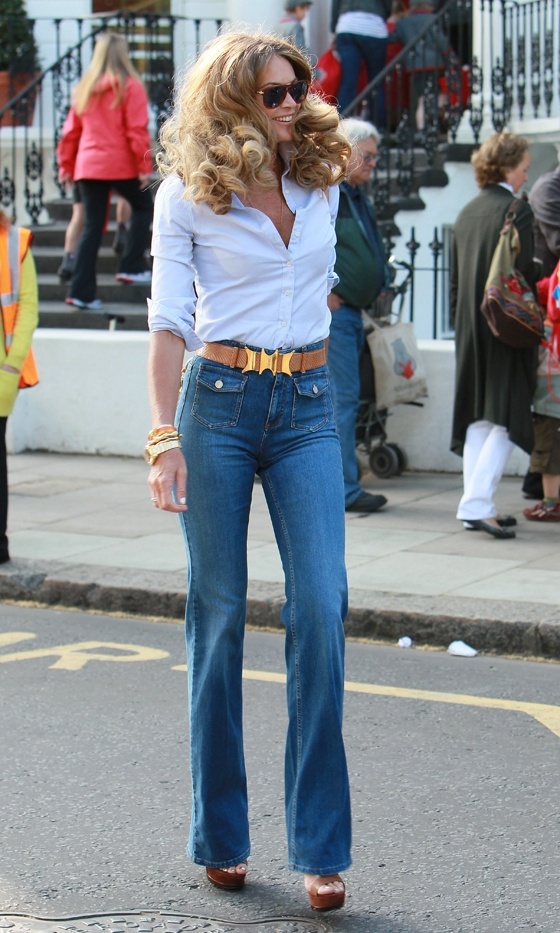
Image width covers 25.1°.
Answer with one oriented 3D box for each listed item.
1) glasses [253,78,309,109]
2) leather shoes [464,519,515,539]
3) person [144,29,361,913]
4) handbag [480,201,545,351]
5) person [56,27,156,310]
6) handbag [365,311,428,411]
[{"bbox_3d":[0.012,-0.755,2.535,0.042,0.067,0.120,4,6,37],"label":"glasses"},{"bbox_3d":[1.074,0.304,6.467,0.252,0.097,0.297,1,5,7],"label":"leather shoes"},{"bbox_3d":[-0.058,0.007,2.617,0.408,1.819,0.311,0,5,2],"label":"person"},{"bbox_3d":[1.131,-0.953,6.102,0.320,0.714,0.216,-1,5,-12],"label":"handbag"},{"bbox_3d":[-1.385,-2.411,10.143,0.735,2.248,0.985,-1,5,-9],"label":"person"},{"bbox_3d":[0.681,-0.631,7.472,0.369,0.553,0.192,1,5,4],"label":"handbag"}]
